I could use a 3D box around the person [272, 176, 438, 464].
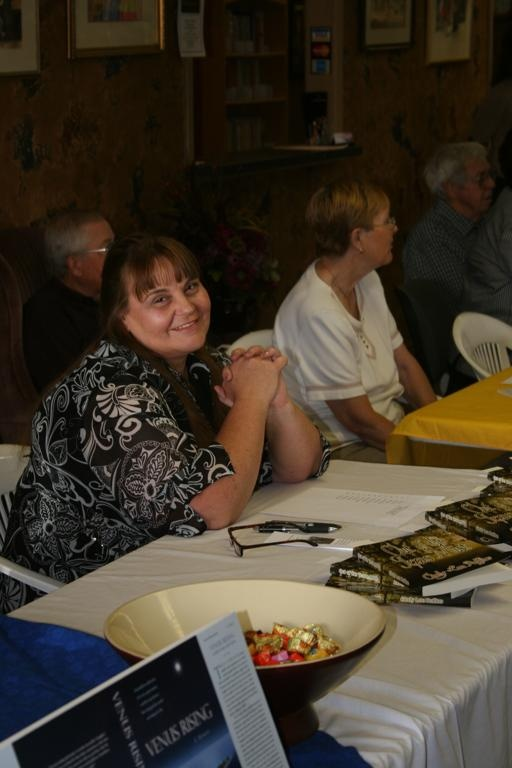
[{"bbox_3d":[0.434,-0.137,2.545,0.714,1.258,0.675,3,28,14],"label":"person"}]
